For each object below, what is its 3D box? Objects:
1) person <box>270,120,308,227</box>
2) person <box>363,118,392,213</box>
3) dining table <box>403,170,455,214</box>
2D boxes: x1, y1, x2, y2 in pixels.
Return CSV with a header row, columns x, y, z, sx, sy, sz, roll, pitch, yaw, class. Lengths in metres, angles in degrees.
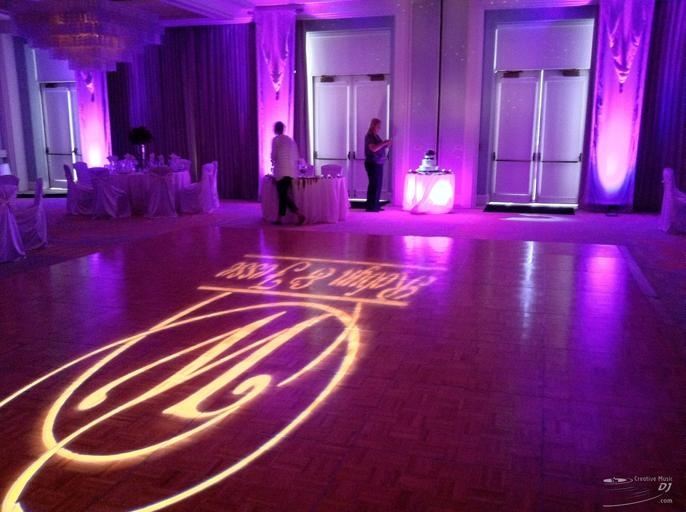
x,y,z,sx,sy,sz,roll,pitch,yaw,class
-0.974,-1.338,8.342,0.531,1.564,0.394,-2,14,-6,person
0.659,-1.821,9.572,0.475,1.799,0.562,1,14,5,person
1.712,-1.342,9.623,0.809,0.759,0.862,-5,16,-16,dining table
